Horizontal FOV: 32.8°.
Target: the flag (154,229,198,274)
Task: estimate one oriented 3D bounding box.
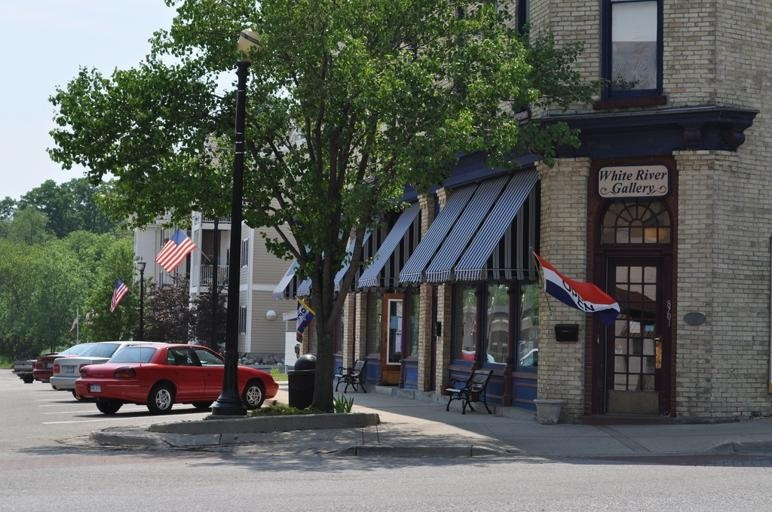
[{"bbox_3d":[-7.178,-0.231,44.885,0.914,1.977,0.126,16,-41,0],"label":"flag"}]

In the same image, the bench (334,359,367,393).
[{"bbox_3d":[-1.057,4.018,43.413,1.074,1.330,0.910,8,-13,-35],"label":"bench"}]

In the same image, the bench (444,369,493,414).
[{"bbox_3d":[2.399,3.767,36.458,1.055,1.187,1.730,2,-6,-21],"label":"bench"}]

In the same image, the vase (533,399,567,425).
[{"bbox_3d":[4.174,4.030,33.726,0.655,0.489,0.668,0,-13,9],"label":"vase"}]
